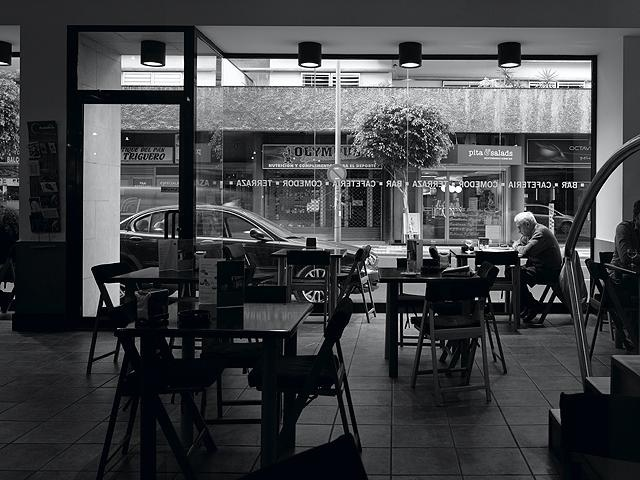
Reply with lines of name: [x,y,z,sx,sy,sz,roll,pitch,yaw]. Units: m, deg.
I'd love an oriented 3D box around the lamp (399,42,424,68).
lamp: [1.218,-2.509,9.410,0.287,0.273,0.298,-1,0,7]

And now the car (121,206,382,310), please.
car: [-1.033,0.186,9.750,3.311,1.169,1.461,0,1,-10]

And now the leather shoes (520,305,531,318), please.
leather shoes: [2.817,0.962,9.516,0.102,0.144,0.139,15,31,8]

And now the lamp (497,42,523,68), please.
lamp: [2.562,-2.493,9.351,0.286,0.293,0.279,1,7,19]

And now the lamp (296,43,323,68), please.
lamp: [-0.163,-2.532,9.595,0.288,0.272,0.290,0,0,-14]

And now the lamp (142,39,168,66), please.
lamp: [-2.188,-2.422,9.039,0.310,0.315,0.322,9,10,41]
